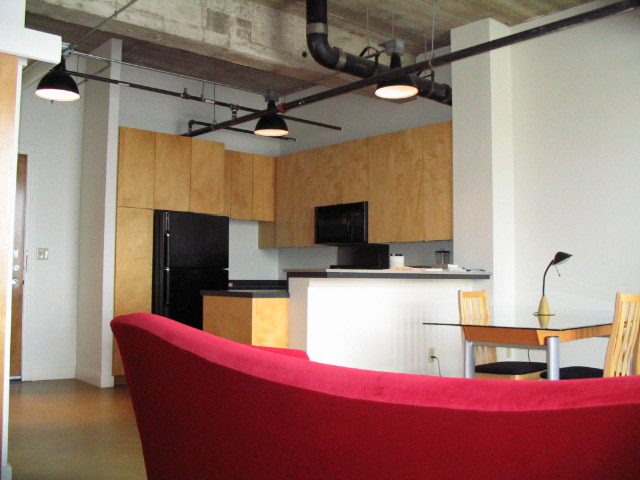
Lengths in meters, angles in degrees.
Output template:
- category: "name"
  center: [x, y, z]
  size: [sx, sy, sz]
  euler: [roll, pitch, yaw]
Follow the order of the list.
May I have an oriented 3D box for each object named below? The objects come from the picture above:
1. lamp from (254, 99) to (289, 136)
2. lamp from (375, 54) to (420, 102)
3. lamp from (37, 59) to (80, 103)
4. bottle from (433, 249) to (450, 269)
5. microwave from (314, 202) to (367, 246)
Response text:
- category: "lamp"
  center: [-0.482, -1.312, 5.664]
  size: [0.371, 0.401, 0.387]
  euler: [0, 3, 2]
- category: "lamp"
  center: [0.624, -1.323, 4.527]
  size: [0.382, 0.415, 0.399]
  euler: [0, -5, -6]
- category: "lamp"
  center: [-2.211, -1.311, 4.535]
  size: [0.358, 0.374, 0.362]
  euler: [7, 9, 17]
- category: "bottle"
  center: [1.375, 0.216, 6.215]
  size: [0.166, 0.216, 0.215]
  euler: [7, -5, -42]
- category: "microwave"
  center: [0.265, -0.211, 6.743]
  size: [0.483, 0.496, 0.778]
  euler: [5, -6, -35]
